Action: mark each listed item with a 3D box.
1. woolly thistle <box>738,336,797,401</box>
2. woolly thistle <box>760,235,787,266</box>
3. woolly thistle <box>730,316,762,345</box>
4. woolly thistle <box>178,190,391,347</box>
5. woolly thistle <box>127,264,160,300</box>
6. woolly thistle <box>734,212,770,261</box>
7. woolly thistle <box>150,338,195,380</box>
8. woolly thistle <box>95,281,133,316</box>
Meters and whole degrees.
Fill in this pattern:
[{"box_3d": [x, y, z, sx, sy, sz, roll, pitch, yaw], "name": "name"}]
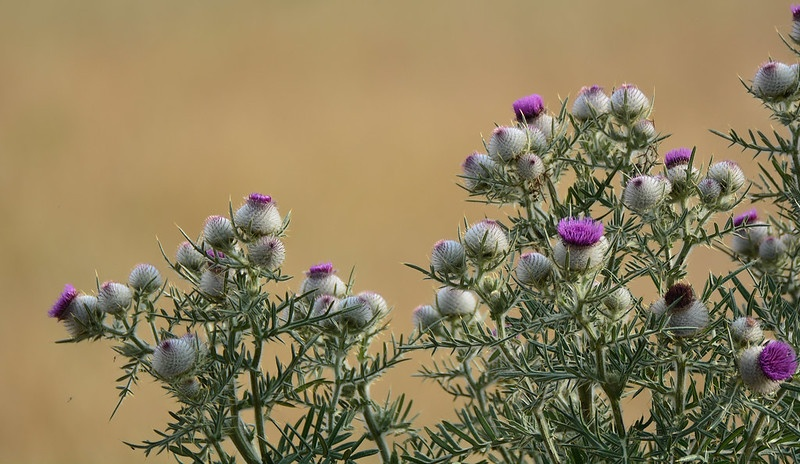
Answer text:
[{"box_3d": [0.925, 0.344, 3.301, 0.132, 0.132, 0.131, -20, -103, 44], "name": "woolly thistle"}, {"box_3d": [1.070, 0.058, 3.772, 0.078, 0.078, 0.091, 2, -91, -4], "name": "woolly thistle"}, {"box_3d": [0.899, 0.258, 3.411, 0.068, 0.073, 0.074, 3, -96, -5], "name": "woolly thistle"}, {"box_3d": [-0.317, 0.111, 3.489, 0.426, 0.464, 0.250, 9, -95, 24], "name": "woolly thistle"}, {"box_3d": [-0.690, 0.143, 3.602, 0.073, 0.078, 0.085, 6, -109, -13], "name": "woolly thistle"}, {"box_3d": [1.013, 0.022, 3.784, 0.124, 0.126, 0.159, -2, -96, 4], "name": "woolly thistle"}, {"box_3d": [-0.597, 0.337, 3.430, 0.091, 0.061, 0.110, -29, -71, 1], "name": "woolly thistle"}, {"box_3d": [-0.764, 0.180, 3.527, 0.077, 0.089, 0.093, -10, -82, -8], "name": "woolly thistle"}]
